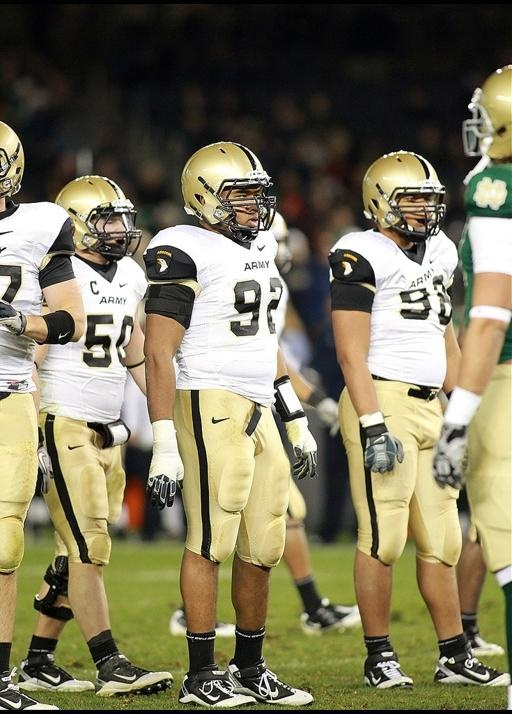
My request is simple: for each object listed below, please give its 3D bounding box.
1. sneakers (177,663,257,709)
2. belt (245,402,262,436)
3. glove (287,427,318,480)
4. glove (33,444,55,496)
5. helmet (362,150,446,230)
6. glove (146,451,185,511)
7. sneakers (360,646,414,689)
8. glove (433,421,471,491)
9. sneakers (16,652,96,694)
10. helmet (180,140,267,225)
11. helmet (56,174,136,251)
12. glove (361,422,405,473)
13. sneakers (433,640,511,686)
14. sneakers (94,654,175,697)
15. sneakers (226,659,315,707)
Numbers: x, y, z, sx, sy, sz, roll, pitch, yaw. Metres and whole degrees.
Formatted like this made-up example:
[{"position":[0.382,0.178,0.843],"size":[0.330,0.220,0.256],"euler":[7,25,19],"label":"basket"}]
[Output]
[{"position":[-0.127,1.029,2.550],"size":[0.238,0.093,0.111],"euler":[-1,-5,19],"label":"sneakers"},{"position":[-0.010,0.204,2.741],"size":[0.034,0.121,0.034],"euler":[19,-23,6],"label":"belt"},{"position":[0.147,0.368,3.094],"size":[0.072,0.180,0.138],"euler":[-13,-18,17],"label":"glove"},{"position":[-0.795,0.427,3.038],"size":[0.045,0.181,0.134],"euler":[-3,12,-22],"label":"glove"},{"position":[0.597,-0.635,3.193],"size":[0.224,0.330,0.303],"euler":[-4,12,-26],"label":"helmet"},{"position":[-0.292,0.390,2.571],"size":[0.048,0.163,0.106],"euler":[-3,-21,19],"label":"glove"},{"position":[0.469,1.131,2.947],"size":[0.086,0.092,0.218],"euler":[5,-11,-25],"label":"sneakers"},{"position":[0.494,0.252,2.050],"size":[0.090,0.158,0.056],"euler":[10,23,26],"label":"glove"},{"position":[-0.703,1.171,3.040],"size":[0.339,0.147,0.114],"euler":[1,-4,2],"label":"sneakers"},{"position":[-0.111,-0.626,2.938],"size":[0.256,0.301,0.328],"euler":[-6,13,-32],"label":"helmet"},{"position":[-0.659,-0.580,3.357],"size":[0.323,0.334,0.353],"euler":[-1,11,-13],"label":"helmet"},{"position":[0.441,0.315,2.860],"size":[0.164,0.173,0.078],"euler":[-11,-11,-2],"label":"glove"},{"position":[0.769,1.140,3.034],"size":[0.325,0.172,0.111],"euler":[1,-4,2],"label":"sneakers"},{"position":[-0.432,1.099,2.823],"size":[0.307,0.152,0.109],"euler":[-7,-13,5],"label":"sneakers"},{"position":[0.035,1.073,2.722],"size":[0.303,0.106,0.118],"euler":[5,2,21],"label":"sneakers"}]
